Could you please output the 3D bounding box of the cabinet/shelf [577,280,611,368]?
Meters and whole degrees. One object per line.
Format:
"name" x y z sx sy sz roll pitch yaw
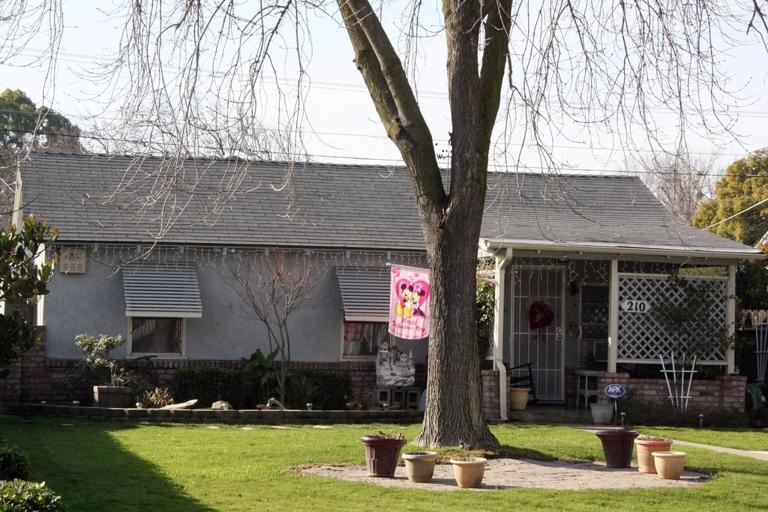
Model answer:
"cabinet/shelf" 6.677 2.248 32.098 0.944 2.606 0.442 1 -8 -11

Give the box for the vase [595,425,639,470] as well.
"vase" 5.357 4.515 23.250 0.844 0.828 0.895 0 -6 9

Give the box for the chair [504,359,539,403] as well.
"chair" 4.335 3.974 31.309 1.234 1.849 0.975 -3 -2 6

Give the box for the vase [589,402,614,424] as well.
"vase" 6.345 4.677 29.327 0.567 0.467 0.599 -5 -12 28

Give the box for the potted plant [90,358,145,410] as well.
"potted plant" -7.787 3.797 28.902 1.436 1.864 1.131 1 -13 -21

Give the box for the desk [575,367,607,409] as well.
"desk" 6.220 4.136 30.805 0.966 1.444 1.176 0 0 -13

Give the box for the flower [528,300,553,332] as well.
"flower" 4.892 1.883 31.541 0.765 0.956 0.489 -1 -8 3

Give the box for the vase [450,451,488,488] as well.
"vase" 1.723 4.598 21.161 0.614 0.480 0.635 3 -8 -16

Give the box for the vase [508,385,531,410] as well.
"vase" 4.024 4.312 30.090 0.652 0.550 0.692 0 -9 5

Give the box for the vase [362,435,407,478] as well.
"vase" -0.048 4.368 21.683 0.888 0.758 0.864 8 -15 -24

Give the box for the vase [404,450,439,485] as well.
"vase" 0.715 4.565 21.377 0.594 0.460 0.613 -9 -12 43

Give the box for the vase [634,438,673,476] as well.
"vase" 6.099 4.636 22.825 0.804 0.712 0.881 5 -9 10

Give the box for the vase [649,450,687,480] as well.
"vase" 6.247 4.676 22.163 0.555 0.441 0.588 1 -10 -2
